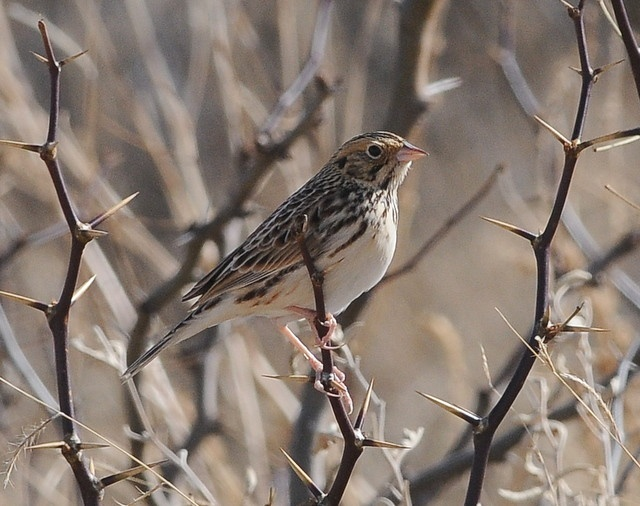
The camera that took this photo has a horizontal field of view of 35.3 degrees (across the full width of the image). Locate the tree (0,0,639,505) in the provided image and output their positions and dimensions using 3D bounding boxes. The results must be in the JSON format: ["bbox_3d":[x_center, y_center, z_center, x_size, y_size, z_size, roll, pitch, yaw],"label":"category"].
[{"bbox_3d":[-0.017,-0.248,4.777,2.676,2.473,1.992,1,-52,-3],"label":"tree"}]
